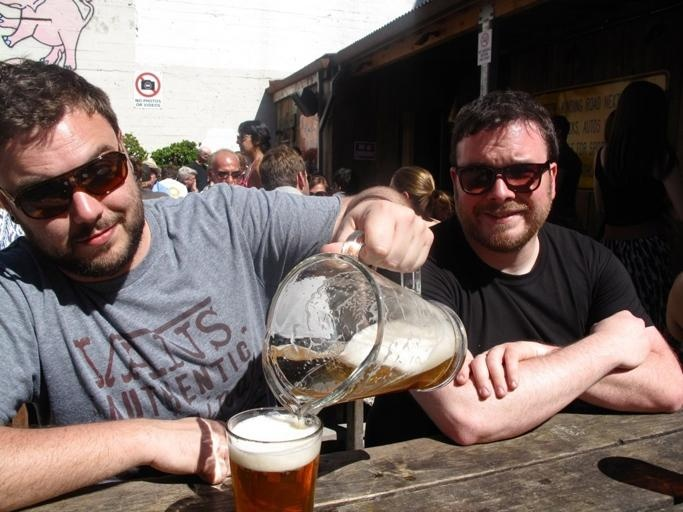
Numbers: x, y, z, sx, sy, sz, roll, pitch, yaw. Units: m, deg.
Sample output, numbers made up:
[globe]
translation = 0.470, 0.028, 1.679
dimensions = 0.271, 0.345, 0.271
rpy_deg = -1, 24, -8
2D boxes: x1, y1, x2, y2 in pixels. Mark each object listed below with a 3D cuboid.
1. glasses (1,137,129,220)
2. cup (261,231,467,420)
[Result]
[glasses]
translation = -0.942, -0.244, 1.896
dimensions = 0.362, 0.215, 0.099
rpy_deg = -10, 14, -32
[cup]
translation = -0.021, 0.236, 1.590
dimensions = 0.534, 0.560, 0.368
rpy_deg = -11, -6, -46
